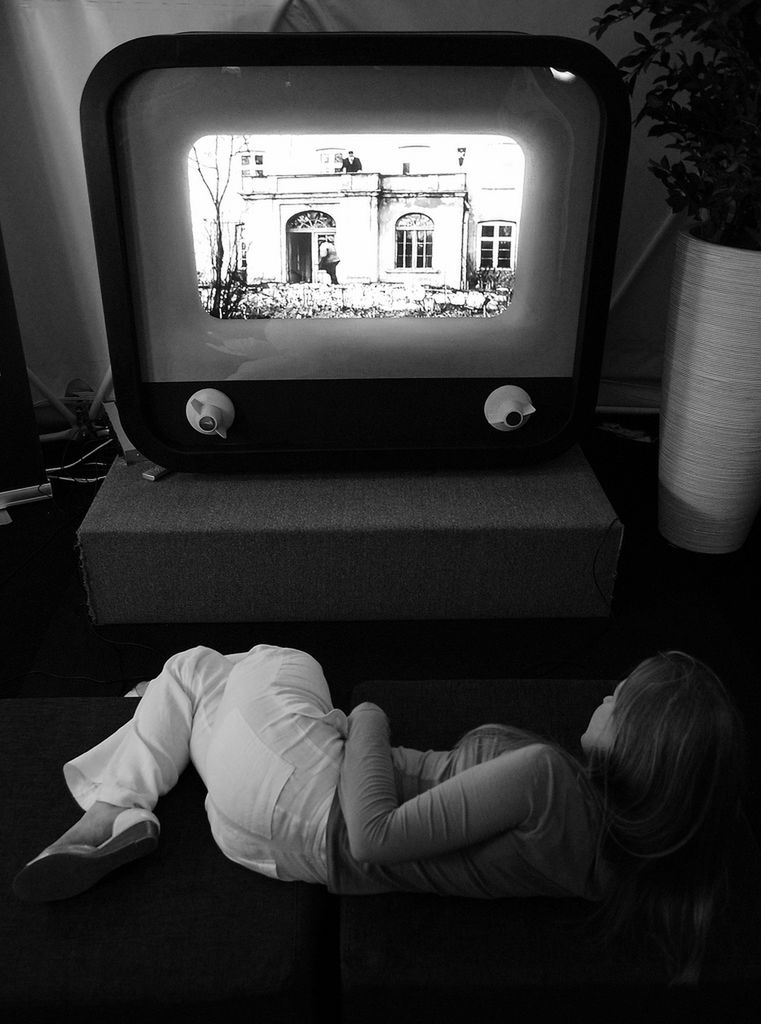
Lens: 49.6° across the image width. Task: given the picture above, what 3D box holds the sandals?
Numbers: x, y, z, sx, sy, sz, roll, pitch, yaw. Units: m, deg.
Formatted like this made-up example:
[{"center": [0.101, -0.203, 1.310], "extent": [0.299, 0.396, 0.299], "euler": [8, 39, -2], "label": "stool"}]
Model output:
[{"center": [-0.332, 0.391, 0.940], "extent": [0.153, 0.069, 0.062], "euler": [-19, 31, -27], "label": "sandals"}]

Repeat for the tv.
[{"center": [-0.052, -0.402, 2.050], "extent": [1.163, 1.112, 0.675], "euler": [1, 35, 0], "label": "tv"}]
